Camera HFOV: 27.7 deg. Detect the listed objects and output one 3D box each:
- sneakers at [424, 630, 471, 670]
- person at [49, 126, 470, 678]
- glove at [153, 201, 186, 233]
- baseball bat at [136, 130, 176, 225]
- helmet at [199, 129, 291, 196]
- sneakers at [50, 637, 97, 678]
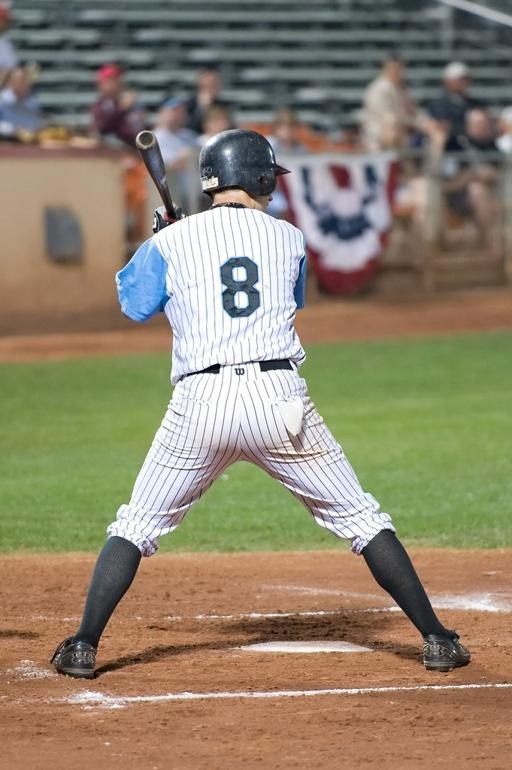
[{"bbox_3d":[0.503,0.684,2.683,0.065,0.069,0.170,0,1,26],"label":"sneakers"},{"bbox_3d":[-0.004,0.153,2.595,0.971,1.181,0.335,-2,3,-16],"label":"person"},{"bbox_3d":[-0.232,-0.441,2.773,0.090,0.100,0.042,0,-39,15],"label":"glove"},{"bbox_3d":[-0.258,-0.564,2.858,0.056,0.063,0.360,0,-27,17],"label":"baseball bat"},{"bbox_3d":[-0.031,-0.582,2.707,0.247,0.152,0.171,-15,19,-39],"label":"helmet"},{"bbox_3d":[-0.455,0.690,2.637,0.073,0.062,0.153,2,2,-16],"label":"sneakers"}]
